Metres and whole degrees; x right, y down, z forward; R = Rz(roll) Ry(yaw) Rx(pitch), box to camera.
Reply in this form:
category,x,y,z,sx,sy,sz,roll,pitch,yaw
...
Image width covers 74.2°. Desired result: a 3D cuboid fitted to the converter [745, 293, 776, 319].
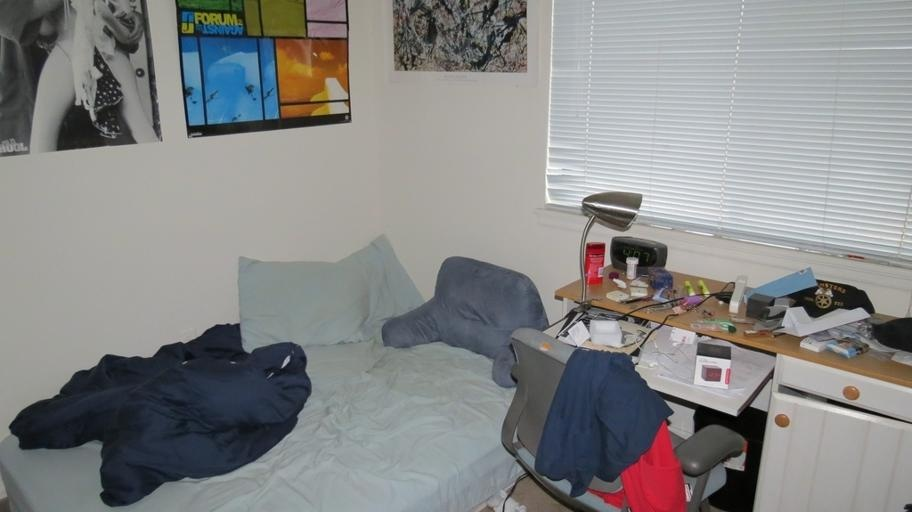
category,x,y,z,sx,sy,sz,roll,pitch,yaw
converter,1.729,0.289,3.442,0.114,0.153,0.160,-13,17,-28
